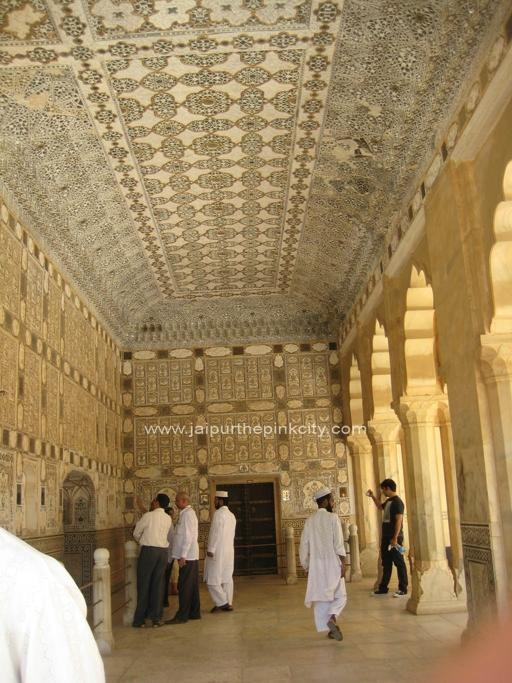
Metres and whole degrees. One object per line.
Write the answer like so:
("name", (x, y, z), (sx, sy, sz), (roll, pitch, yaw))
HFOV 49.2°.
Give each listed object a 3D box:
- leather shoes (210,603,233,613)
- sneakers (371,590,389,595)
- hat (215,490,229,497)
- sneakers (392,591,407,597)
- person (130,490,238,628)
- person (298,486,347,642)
("leather shoes", (-0.526, 4.047, 8.479), (0.393, 0.158, 0.128), (3, -9, -5))
("sneakers", (1.995, 4.046, 8.997), (0.263, 0.104, 0.086), (0, -5, -1))
("hat", (-0.522, 2.317, 8.502), (0.221, 0.109, 0.216), (0, -12, 8))
("sneakers", (2.250, 3.951, 8.749), (0.251, 0.095, 0.097), (22, -30, -40))
("person", (-1.269, 3.062, 7.938), (0.898, 1.735, 0.580), (-1, -18, -7))
("person", (0.769, 2.563, 6.489), (0.501, 1.610, 0.537), (-4, -18, 2))
